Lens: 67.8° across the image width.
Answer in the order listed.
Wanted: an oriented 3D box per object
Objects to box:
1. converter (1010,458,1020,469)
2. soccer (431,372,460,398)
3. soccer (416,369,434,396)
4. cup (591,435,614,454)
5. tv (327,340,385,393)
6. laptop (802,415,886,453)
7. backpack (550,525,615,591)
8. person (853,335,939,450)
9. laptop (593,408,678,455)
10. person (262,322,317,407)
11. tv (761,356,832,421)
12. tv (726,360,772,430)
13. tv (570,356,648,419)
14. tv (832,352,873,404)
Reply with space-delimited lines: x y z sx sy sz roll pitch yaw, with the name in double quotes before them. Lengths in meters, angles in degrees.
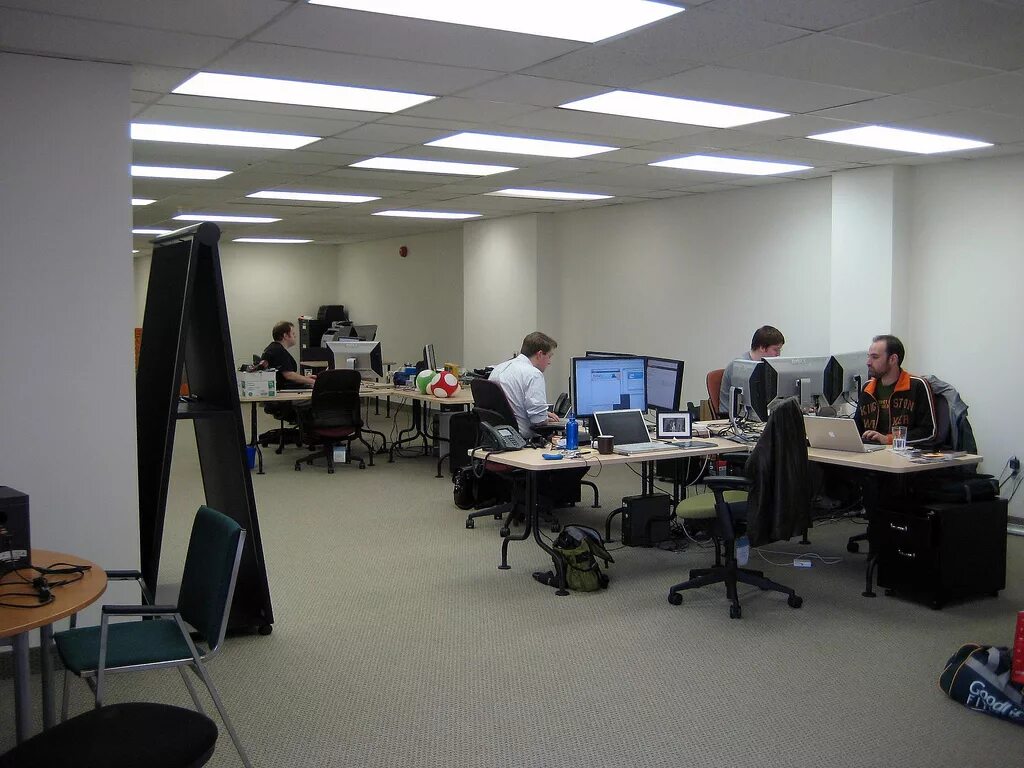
"converter" 4.216 0.663 6.415 0.059 0.111 0.055 9 16 39
"soccer" -0.761 0.022 8.594 0.257 0.278 0.261 25 12 37
"soccer" -1.014 -0.027 8.841 0.211 0.264 0.252 1 -11 -5
"cup" 0.629 0.422 5.284 0.109 0.109 0.092 0 -1 10
"tv" -1.958 -0.219 9.494 0.590 0.659 0.218 1 24 1
"laptop" 2.193 0.342 5.215 0.288 0.248 0.380 -3 3 -31
"backpack" 0.463 1.171 5.110 0.347 0.425 0.277 -6 3 -28
"person" 2.846 0.075 5.807 0.523 0.893 0.663 -6 3 -30
"laptop" 0.839 0.327 5.502 0.353 0.232 0.325 -1 3 -35
"person" -2.860 -0.292 9.794 0.661 0.935 1.237 1 -3 -21
"tv" 2.162 0.034 5.745 0.506 0.488 0.160 -1 0 0
"tv" 1.838 0.079 5.898 0.237 0.495 0.481 -2 6 -14
"tv" 0.791 0.020 6.063 0.607 0.480 0.051 -3 10 -11
"tv" 2.599 -0.039 5.873 0.331 0.355 0.121 -6 15 -30
